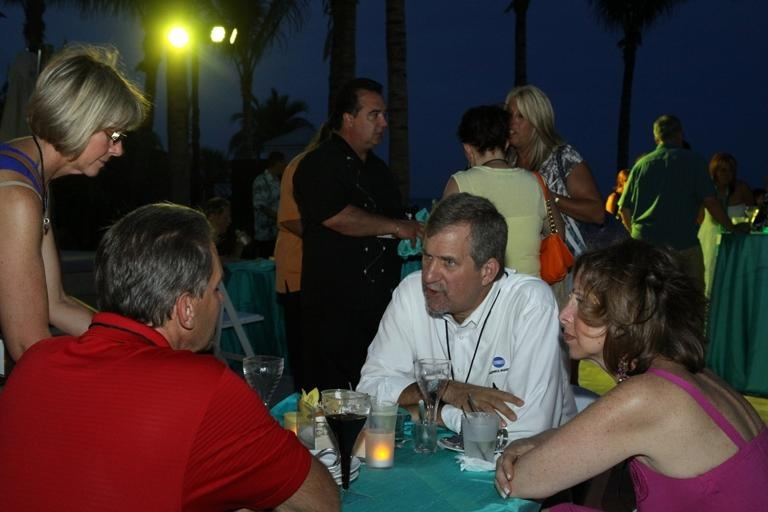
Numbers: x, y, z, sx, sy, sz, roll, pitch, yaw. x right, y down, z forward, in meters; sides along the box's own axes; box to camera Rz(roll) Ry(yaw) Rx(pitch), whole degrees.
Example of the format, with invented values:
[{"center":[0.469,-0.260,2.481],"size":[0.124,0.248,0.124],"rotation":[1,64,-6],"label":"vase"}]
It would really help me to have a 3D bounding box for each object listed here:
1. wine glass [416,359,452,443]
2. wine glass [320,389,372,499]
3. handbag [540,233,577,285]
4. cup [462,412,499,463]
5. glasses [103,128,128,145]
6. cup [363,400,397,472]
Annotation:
[{"center":[0.187,0.561,2.336],"size":[0.129,0.330,0.295],"rotation":[1,0,4],"label":"wine glass"},{"center":[-0.138,0.630,2.087],"size":[0.178,0.275,0.301],"rotation":[1,0,-2],"label":"wine glass"},{"center":[1.129,-0.029,3.856],"size":[0.193,0.396,0.381],"rotation":[-2,15,20],"label":"handbag"},{"center":[0.350,0.651,2.127],"size":[0.145,0.173,0.153],"rotation":[0,-9,0],"label":"cup"},{"center":[-1.121,-0.507,2.468],"size":[0.072,0.053,0.058],"rotation":[7,-8,-24],"label":"glasses"},{"center":[-0.016,0.653,2.143],"size":[0.127,0.219,0.132],"rotation":[1,-9,0],"label":"cup"}]
